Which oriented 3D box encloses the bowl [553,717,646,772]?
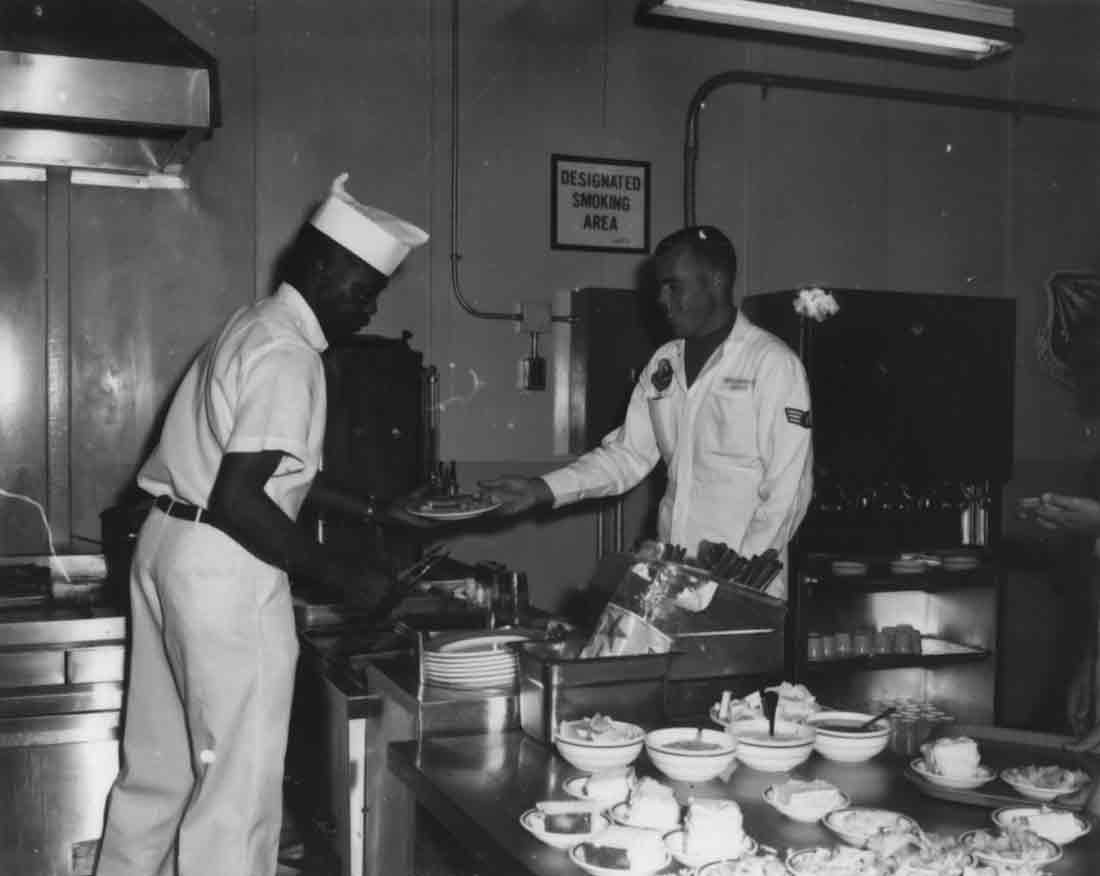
[{"bbox_3d":[0.072,0.695,2.813,0.240,0.104,0.244,9,-5,1],"label":"bowl"}]

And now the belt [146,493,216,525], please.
[{"bbox_3d":[-0.969,0.192,3.242,0.103,0.032,0.105,19,1,0],"label":"belt"}]

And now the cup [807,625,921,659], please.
[{"bbox_3d":[1.302,0.860,5.156,0.558,0.133,0.180,2,-1,-23],"label":"cup"}]

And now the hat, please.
[{"bbox_3d":[-0.475,-0.541,3.417,0.261,0.173,0.310,30,-6,38],"label":"hat"}]

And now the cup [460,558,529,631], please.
[{"bbox_3d":[-0.168,0.492,3.885,0.190,0.191,0.117,-1,1,29],"label":"cup"}]

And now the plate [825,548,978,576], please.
[{"bbox_3d":[1.529,0.538,5.215,0.762,0.108,0.211,2,-1,-24],"label":"plate"}]

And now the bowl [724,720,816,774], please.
[{"bbox_3d":[0.503,0.690,2.750,0.120,0.052,0.121,0,1,0],"label":"bowl"}]

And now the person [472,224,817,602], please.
[{"bbox_3d":[0.437,-0.152,4.058,0.842,1.067,0.615,1,-1,24],"label":"person"}]

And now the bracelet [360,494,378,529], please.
[{"bbox_3d":[-0.589,0.235,4.058,0.073,0.124,0.120,1,-5,-16],"label":"bracelet"}]

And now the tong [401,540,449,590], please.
[{"bbox_3d":[-0.430,0.441,4.198,0.182,0.064,0.117,-38,-3,-1],"label":"tong"}]

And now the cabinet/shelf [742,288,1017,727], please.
[{"bbox_3d":[1.498,0.382,5.443,0.867,1.856,0.562,-2,10,-4],"label":"cabinet/shelf"}]

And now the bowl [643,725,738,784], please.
[{"bbox_3d":[0.311,0.712,2.738,0.197,0.080,0.199,2,0,0],"label":"bowl"}]
